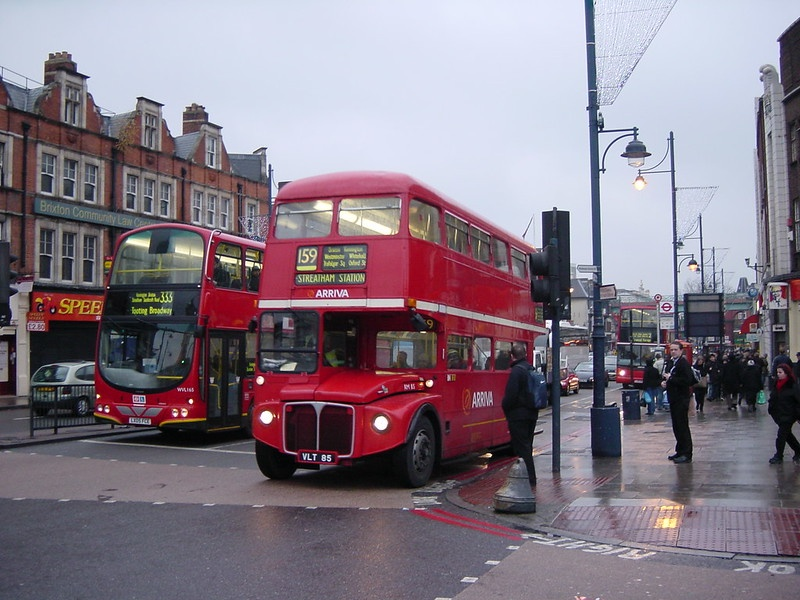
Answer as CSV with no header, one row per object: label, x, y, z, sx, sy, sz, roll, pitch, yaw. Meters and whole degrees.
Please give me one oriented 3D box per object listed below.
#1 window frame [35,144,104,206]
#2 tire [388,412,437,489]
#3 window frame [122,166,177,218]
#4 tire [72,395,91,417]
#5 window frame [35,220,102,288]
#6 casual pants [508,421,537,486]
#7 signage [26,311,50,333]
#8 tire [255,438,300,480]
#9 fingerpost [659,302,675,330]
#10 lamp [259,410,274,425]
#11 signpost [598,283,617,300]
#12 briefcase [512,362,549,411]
window frame,-16.121,-6.048,39.015,0.527,2.144,3.319,-1,-4,26
tire,0.185,2.576,13.847,0.393,1.293,1.251,-1,-6,25
window frame,-13.700,-5.846,43.684,0.456,1.897,3.148,-1,-3,24
tire,-9.044,3.025,22.847,0.206,0.671,0.647,-2,3,11
window frame,-16.108,-2.242,38.867,0.443,2.462,3.234,-2,-4,25
casual pants,2.076,2.562,13.511,0.463,1.107,0.542,-1,-5,-6
signage,-16.626,1.011,36.959,0.285,0.798,0.891,-6,-8,22
tire,-2.150,2.782,14.184,0.264,0.877,0.845,-5,-1,30
fingerpost,12.662,0.722,38.372,1.312,1.545,0.071,-1,-1,-44
lamp,-2.311,2.032,13.893,0.226,0.243,0.054,10,-8,17
signpost,4.309,-0.164,16.919,0.488,0.367,0.294,4,-4,-37
briefcase,2.204,1.467,13.516,0.717,0.831,0.485,-4,-4,29
